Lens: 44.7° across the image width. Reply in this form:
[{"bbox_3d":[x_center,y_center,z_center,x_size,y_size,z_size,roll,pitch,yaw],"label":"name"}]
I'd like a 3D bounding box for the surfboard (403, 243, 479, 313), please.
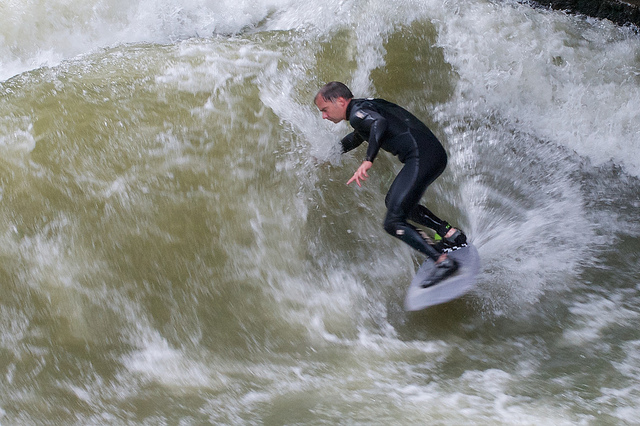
[{"bbox_3d":[1.149,0.618,7.012,0.966,0.093,0.335,-32,62,-25],"label":"surfboard"}]
